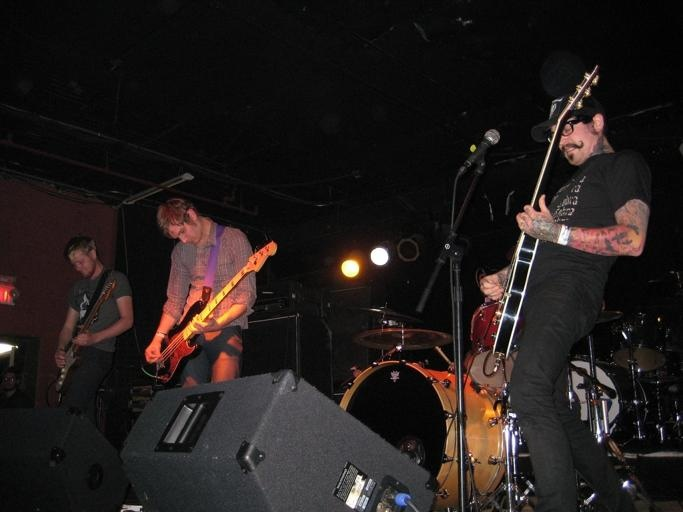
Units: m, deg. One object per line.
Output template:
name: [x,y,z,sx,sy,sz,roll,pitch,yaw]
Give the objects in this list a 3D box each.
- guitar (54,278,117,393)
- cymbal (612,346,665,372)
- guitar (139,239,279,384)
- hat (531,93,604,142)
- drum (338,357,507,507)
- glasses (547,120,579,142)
guitar: [-2.494,0.684,5.854,0.165,1.166,0.525,27,-38,-19]
cymbal: [3.451,1.184,7.004,0.385,0.094,0.403,-9,-41,33]
guitar: [-1.105,0.406,5.049,0.906,1.340,0.377,-19,-46,36]
hat: [1.503,-0.930,4.007,0.449,0.244,0.289,-12,3,-2]
drum: [0.634,1.339,4.536,0.718,1.013,1.002,13,-44,-43]
glasses: [1.410,-0.822,3.864,0.126,0.168,0.052,-18,-75,39]
